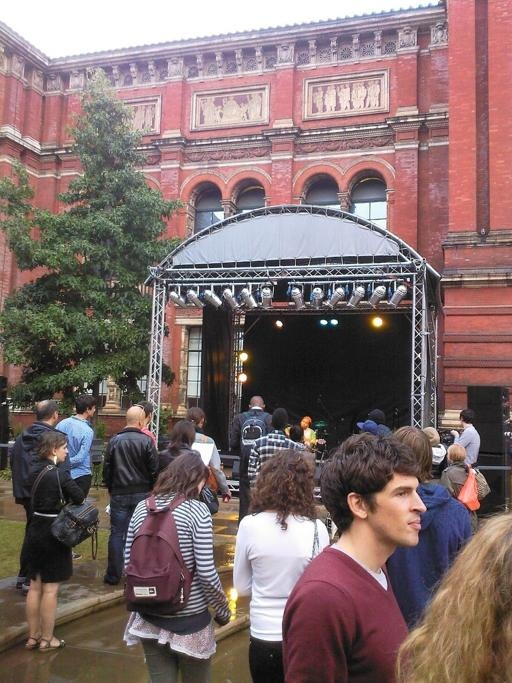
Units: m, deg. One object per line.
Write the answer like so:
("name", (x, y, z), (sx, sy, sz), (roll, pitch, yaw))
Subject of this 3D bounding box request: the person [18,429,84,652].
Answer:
("person", (-1.349, 1.327, 5.007), (0.327, 1.420, 0.447), (5, -6, -36))

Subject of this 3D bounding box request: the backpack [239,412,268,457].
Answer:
("backpack", (-0.023, 0.955, 8.271), (0.322, 0.387, 0.411), (0, -11, 8))

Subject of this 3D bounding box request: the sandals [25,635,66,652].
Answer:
("sandals", (-1.397, 1.990, 4.963), (0.199, 0.051, 0.100), (2, -12, -12))

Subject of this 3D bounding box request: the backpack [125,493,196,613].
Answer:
("backpack", (-0.452, 1.003, 3.487), (0.299, 0.520, 0.233), (2, -5, -7))

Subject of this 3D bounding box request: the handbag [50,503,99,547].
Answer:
("handbag", (-1.142, 1.188, 4.886), (0.165, 0.258, 0.360), (-2, -5, 37))

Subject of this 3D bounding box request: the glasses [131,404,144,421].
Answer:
("glasses", (-1.033, 0.618, 6.576), (0.123, 0.126, 0.135), (7, -18, 10))
